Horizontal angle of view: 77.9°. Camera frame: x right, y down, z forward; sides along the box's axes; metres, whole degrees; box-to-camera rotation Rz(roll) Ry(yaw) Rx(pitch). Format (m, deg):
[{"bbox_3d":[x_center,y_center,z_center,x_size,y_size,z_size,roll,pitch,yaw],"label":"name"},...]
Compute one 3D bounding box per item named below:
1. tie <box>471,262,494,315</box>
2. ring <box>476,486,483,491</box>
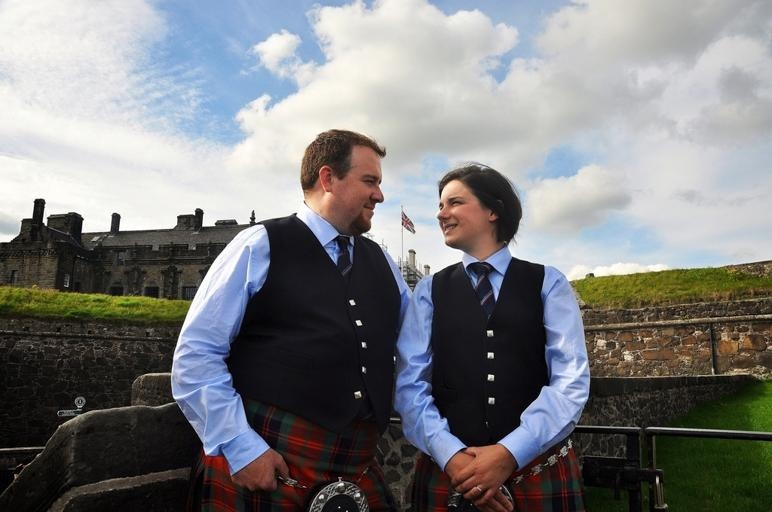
[{"bbox_3d":[0.644,0.136,3.112,0.146,0.045,0.514,-10,17,13],"label":"tie"},{"bbox_3d":[0.523,1.289,2.653,0.027,0.020,0.028,1,-11,0],"label":"ring"}]
